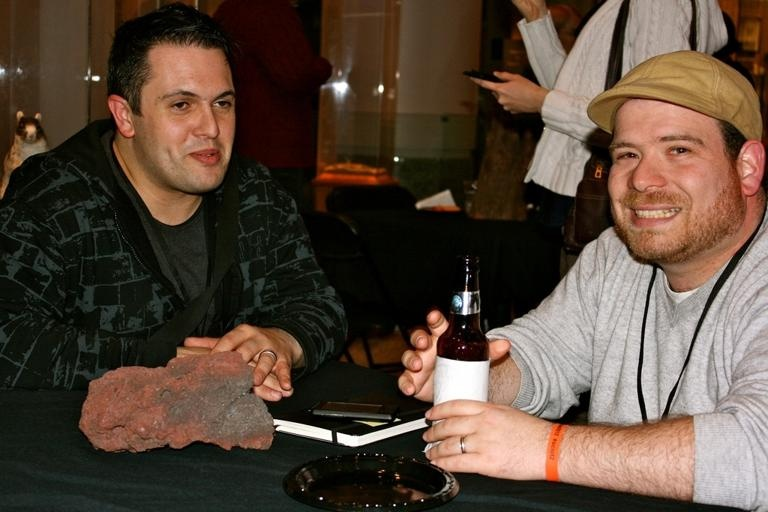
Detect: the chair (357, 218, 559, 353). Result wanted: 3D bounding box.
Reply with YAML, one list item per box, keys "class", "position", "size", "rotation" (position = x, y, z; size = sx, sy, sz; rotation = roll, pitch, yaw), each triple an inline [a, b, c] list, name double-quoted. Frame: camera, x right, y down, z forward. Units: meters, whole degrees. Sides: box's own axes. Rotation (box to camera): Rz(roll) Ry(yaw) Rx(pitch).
- class: "chair"
  position: [0.410, 0.025, 3.649]
  size: [0.886, 0.422, 0.710]
  rotation: [-1, 5, -19]

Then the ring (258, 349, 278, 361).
- class: "ring"
  position: [-0.319, 0.276, 1.896]
  size: [0.051, 0.029, 0.085]
  rotation: [-2, 10, -8]

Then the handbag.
- class: "handbag"
  position: [0.879, -0.199, 2.749]
  size: [0.255, 0.315, 0.187]
  rotation: [4, 2, 42]

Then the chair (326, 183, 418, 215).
- class: "chair"
  position: [-0.077, -0.355, 4.272]
  size: [0.402, 0.243, 0.268]
  rotation: [-1, 3, -10]
